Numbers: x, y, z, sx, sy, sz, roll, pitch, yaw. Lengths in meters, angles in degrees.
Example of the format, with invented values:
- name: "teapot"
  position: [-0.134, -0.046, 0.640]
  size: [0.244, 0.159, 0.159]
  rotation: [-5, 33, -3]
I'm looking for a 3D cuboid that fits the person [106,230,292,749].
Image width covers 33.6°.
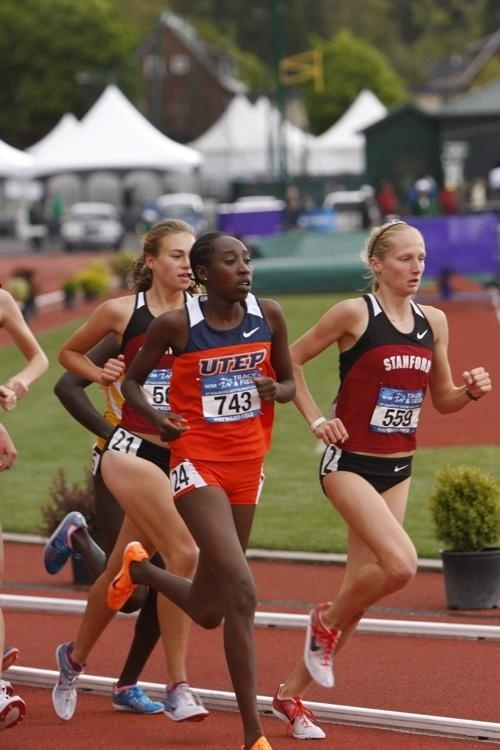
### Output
- name: "person"
  position: [-0.129, 0.274, 2.374]
  size: [0.541, 1.364, 0.642]
  rotation: [-2, 8, 2]

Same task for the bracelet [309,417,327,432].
- name: "bracelet"
  position: [0.232, 0.164, 2.778]
  size: [0.052, 0.020, 0.050]
  rotation: [-26, 6, 42]

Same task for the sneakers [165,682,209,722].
- name: "sneakers"
  position: [-0.213, 1.065, 2.709]
  size: [0.084, 0.087, 0.200]
  rotation: [2, -4, -25]

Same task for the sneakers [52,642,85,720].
- name: "sneakers"
  position: [-0.664, 1.092, 3.003]
  size: [0.101, 0.274, 0.130]
  rotation: [0, -14, -33]

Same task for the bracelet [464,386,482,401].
- name: "bracelet"
  position: [0.807, 0.065, 2.921]
  size: [0.021, 0.052, 0.045]
  rotation: [-47, -7, -15]

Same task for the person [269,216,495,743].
- name: "person"
  position: [0.463, 0.312, 2.812]
  size: [0.688, 1.677, 0.751]
  rotation: [0, 8, 15]

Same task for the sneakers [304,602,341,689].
- name: "sneakers"
  position: [0.225, 0.866, 2.667]
  size: [0.103, 0.264, 0.136]
  rotation: [8, -23, -37]
